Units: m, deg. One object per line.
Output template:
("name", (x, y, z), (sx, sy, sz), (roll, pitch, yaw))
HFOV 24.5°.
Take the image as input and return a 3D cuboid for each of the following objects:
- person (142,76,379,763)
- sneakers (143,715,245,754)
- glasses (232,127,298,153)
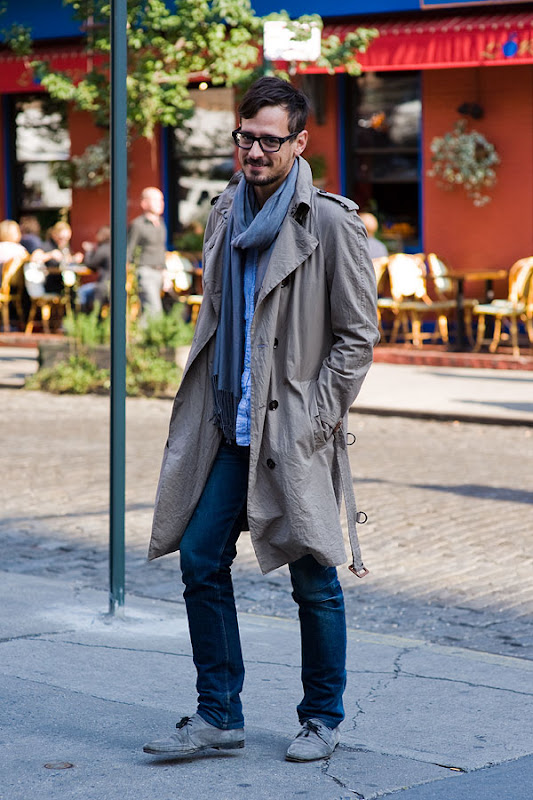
("person", (-0.005, 0.052, 3.067), (0.584, 1.688, 0.455), (0, 8, -2))
("sneakers", (-0.169, 0.824, 3.042), (0.271, 0.111, 0.091), (2, -13, -17))
("glasses", (-0.029, -0.640, 3.037), (0.210, 0.067, 0.119), (7, 10, 41))
